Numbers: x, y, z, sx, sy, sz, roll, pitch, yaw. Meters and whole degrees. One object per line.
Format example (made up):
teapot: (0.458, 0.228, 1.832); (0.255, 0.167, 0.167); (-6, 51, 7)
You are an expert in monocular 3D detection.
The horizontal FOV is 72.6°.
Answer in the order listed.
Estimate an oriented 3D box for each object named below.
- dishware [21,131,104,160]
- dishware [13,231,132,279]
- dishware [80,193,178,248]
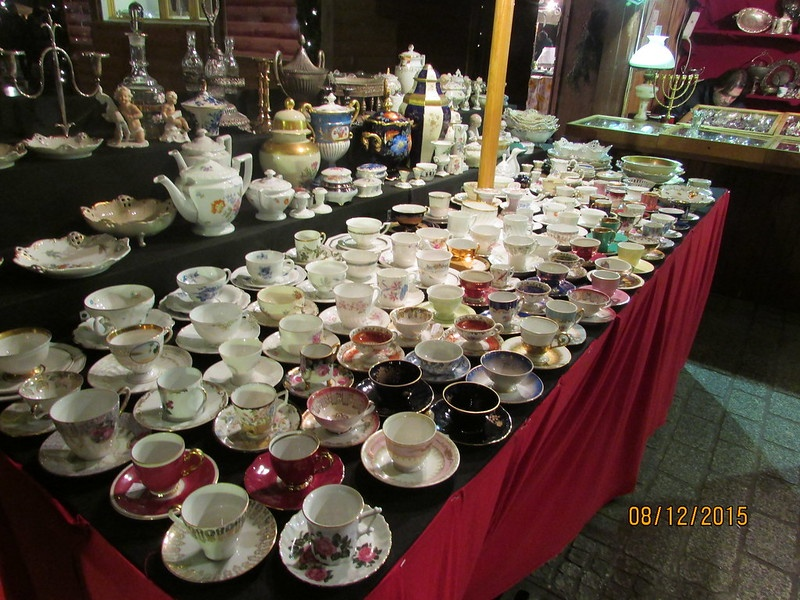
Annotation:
dishware: (-1.019, -0.465, 1.651); (0.165, 0.036, 0.158); (-16, 27, -42)
dishware: (-0.916, -0.128, 1.510); (0.201, 0.045, 0.206); (23, 29, 40)
dishware: (-0.814, -0.249, 1.643); (0.218, 0.075, 0.212); (23, 28, 28)
